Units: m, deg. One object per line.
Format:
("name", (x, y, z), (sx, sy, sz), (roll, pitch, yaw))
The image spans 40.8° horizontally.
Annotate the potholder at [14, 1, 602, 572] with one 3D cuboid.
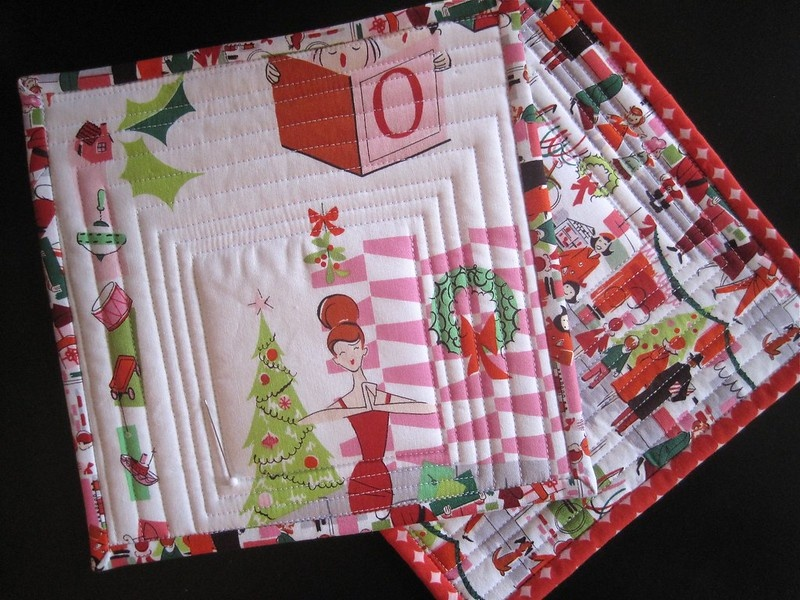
("potholder", (-0.196, -0.028, 2.064), (0.997, 0.135, 0.984), (-10, 83, 0))
